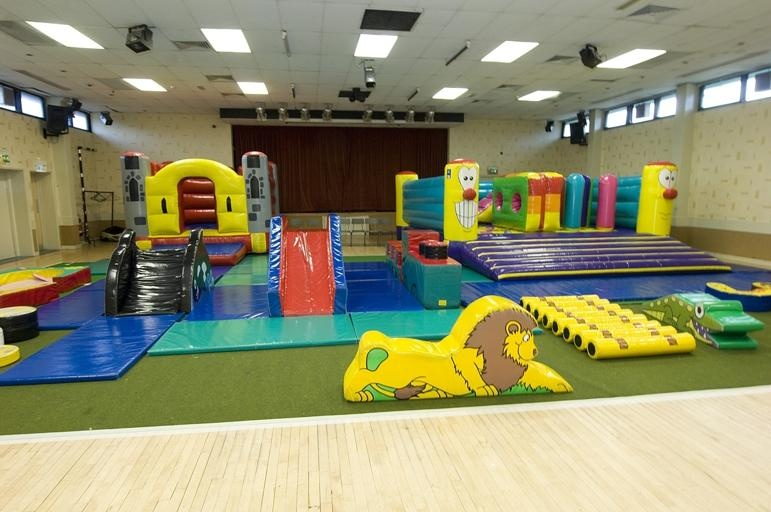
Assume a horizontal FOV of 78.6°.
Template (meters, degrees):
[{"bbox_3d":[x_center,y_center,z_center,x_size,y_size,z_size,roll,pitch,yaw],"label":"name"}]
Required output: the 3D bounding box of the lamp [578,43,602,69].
[{"bbox_3d":[3.563,-3.525,8.369,0.327,0.387,0.133,-4,6,-2],"label":"lamp"}]

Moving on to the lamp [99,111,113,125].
[{"bbox_3d":[-7.473,-3.720,12.637,0.246,0.330,0.232,-16,-26,-46],"label":"lamp"}]

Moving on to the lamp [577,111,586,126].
[{"bbox_3d":[5.408,-3.808,13.098,0.211,0.386,0.441,5,11,25],"label":"lamp"}]

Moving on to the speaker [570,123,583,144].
[{"bbox_3d":[5.372,-3.445,13.334,0.265,0.586,0.550,-3,10,-14],"label":"speaker"}]

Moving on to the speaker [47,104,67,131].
[{"bbox_3d":[-7.742,-3.238,11.150,0.467,0.635,0.204,-4,11,-18],"label":"speaker"}]

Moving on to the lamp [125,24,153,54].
[{"bbox_3d":[-3.900,-3.414,7.517,0.431,0.360,0.369,4,-19,-23],"label":"lamp"}]
